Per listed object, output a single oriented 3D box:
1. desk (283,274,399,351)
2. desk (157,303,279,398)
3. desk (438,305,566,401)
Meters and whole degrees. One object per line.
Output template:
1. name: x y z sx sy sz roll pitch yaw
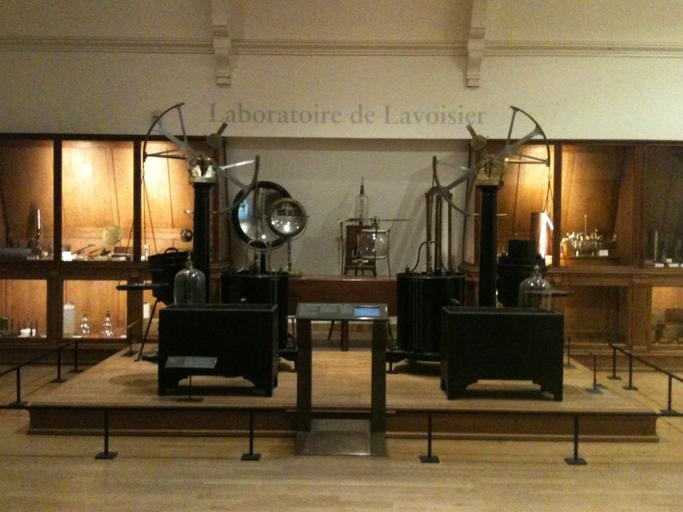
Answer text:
1. desk: -0.034 0.675 11.547 1.510 0.861 0.473 -2 12 -29
2. desk: -1.188 0.744 9.586 1.253 0.927 0.832 0 -3 0
3. desk: 1.513 0.988 9.508 1.202 0.821 0.693 2 -4 -15
